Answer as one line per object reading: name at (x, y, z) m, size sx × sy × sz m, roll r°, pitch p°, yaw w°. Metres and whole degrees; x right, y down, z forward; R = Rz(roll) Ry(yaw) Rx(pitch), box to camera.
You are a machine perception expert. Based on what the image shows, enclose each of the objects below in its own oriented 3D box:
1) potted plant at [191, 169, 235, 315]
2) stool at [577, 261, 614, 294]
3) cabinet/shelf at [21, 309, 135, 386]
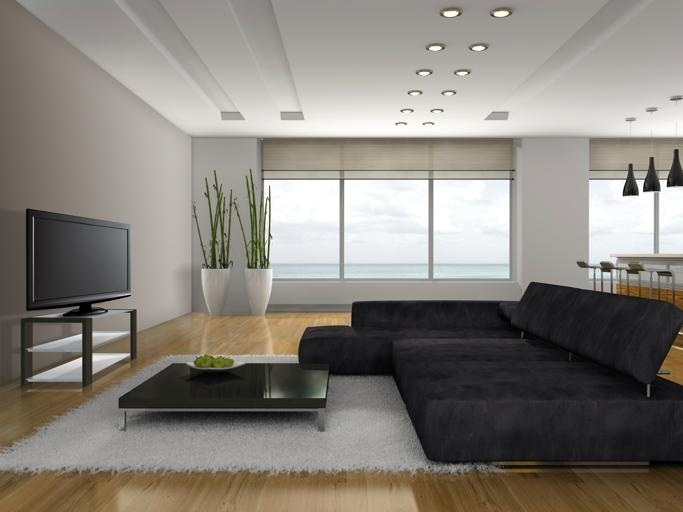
potted plant at (-2.167, -0.251, 7.941) m, size 0.713 × 2.427 × 0.724 m, roll 0°, pitch 2°, yaw -13°
stool at (3.846, 0.329, 7.261) m, size 0.461 × 0.609 × 0.574 m, roll -2°, pitch 0°, yaw -11°
cabinet/shelf at (-2.326, 0.577, 4.156) m, size 0.488 × 0.539 × 1.174 m, roll 0°, pitch 1°, yaw -1°
